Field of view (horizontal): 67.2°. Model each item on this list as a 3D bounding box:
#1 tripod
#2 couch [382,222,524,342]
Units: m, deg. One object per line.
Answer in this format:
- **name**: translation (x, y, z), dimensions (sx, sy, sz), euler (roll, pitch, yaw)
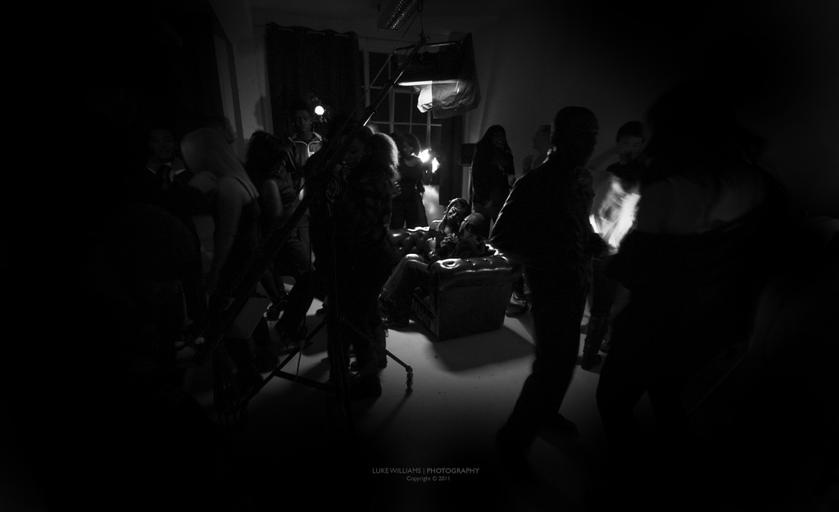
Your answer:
- **tripod**: translation (-0.449, -0.080, 3.024), dimensions (0.962, 1.800, 0.601), euler (-8, 20, -28)
- **couch**: translation (0.297, 0.236, 4.416), dimensions (0.635, 0.482, 0.969), euler (-5, 6, -16)
